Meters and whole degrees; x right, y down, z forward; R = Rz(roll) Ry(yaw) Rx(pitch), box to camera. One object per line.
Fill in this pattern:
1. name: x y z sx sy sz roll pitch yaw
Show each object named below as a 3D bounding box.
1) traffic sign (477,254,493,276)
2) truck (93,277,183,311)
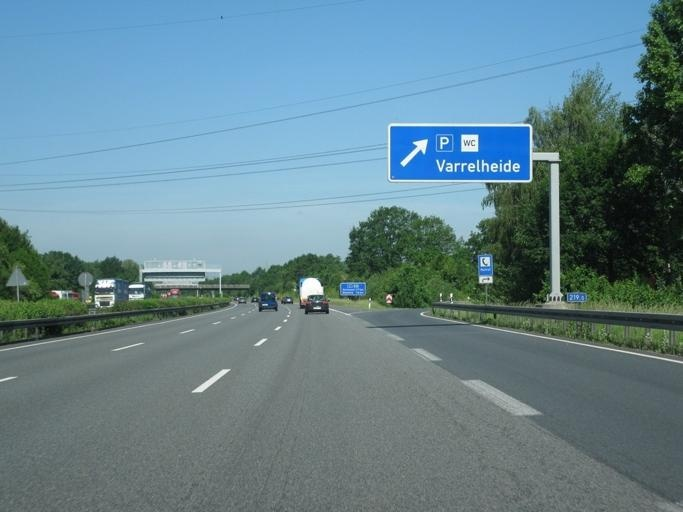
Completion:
1. traffic sign: 5.901 0.372 29.668 0.505 0.653 0.548 0 -1 -1
2. truck: -18.894 3.348 68.594 2.535 2.923 9.821 -2 -5 3
